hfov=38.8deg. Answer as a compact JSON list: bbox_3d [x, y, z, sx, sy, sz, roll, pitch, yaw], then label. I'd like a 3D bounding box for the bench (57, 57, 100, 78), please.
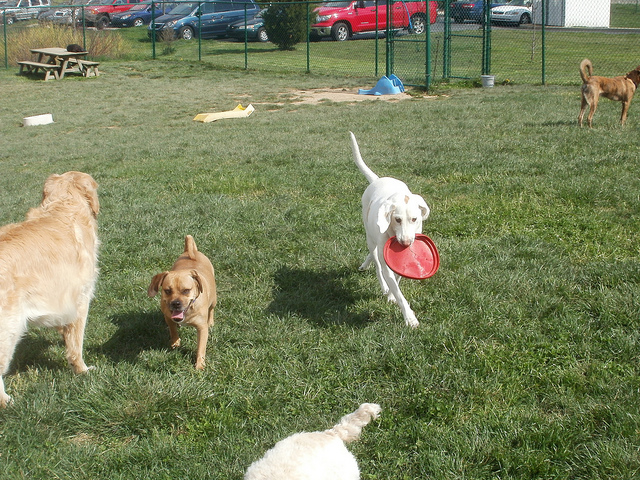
[{"bbox_3d":[-8.350,-6.126,32.076,1.149,0.657,1.010,2,14,5],"label":"bench"}]

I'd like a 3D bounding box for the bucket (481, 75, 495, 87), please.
[{"bbox_3d":[5.058,-4.792,27.265,0.320,0.278,0.335,1,17,0],"label":"bucket"}]

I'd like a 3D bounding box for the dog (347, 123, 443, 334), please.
[{"bbox_3d":[0.963,-0.306,14.397,0.824,1.816,3.580,-2,30,-14],"label":"dog"}]
